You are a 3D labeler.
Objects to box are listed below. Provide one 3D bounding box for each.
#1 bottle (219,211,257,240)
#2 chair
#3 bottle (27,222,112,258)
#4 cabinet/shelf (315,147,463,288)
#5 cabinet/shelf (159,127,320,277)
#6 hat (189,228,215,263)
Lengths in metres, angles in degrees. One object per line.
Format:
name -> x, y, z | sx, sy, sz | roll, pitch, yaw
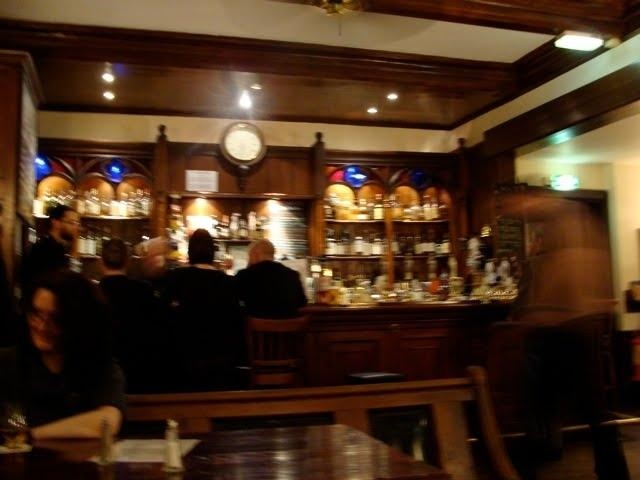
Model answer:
bottle -> -0.907, -0.152, 6.303 | 0.276, 0.176, 0.368 | 1, -4, 1
chair -> -0.292, 0.740, 3.845 | 0.469, 0.634, 0.449 | 1, -13, -5
bottle -> -2.193, 0.002, 5.039 | 0.350, 0.311, 0.122 | 2, -9, -15
cabinet/shelf -> 0.749, -0.233, 6.741 | 1.620, 1.525, 0.521 | 1, -7, -11
cabinet/shelf -> -0.878, -0.398, 5.928 | 1.636, 1.496, 0.612 | 1, -2, -11
hat -> -0.715, 0.045, 3.603 | 0.151, 0.198, 0.205 | 3, -13, -9
